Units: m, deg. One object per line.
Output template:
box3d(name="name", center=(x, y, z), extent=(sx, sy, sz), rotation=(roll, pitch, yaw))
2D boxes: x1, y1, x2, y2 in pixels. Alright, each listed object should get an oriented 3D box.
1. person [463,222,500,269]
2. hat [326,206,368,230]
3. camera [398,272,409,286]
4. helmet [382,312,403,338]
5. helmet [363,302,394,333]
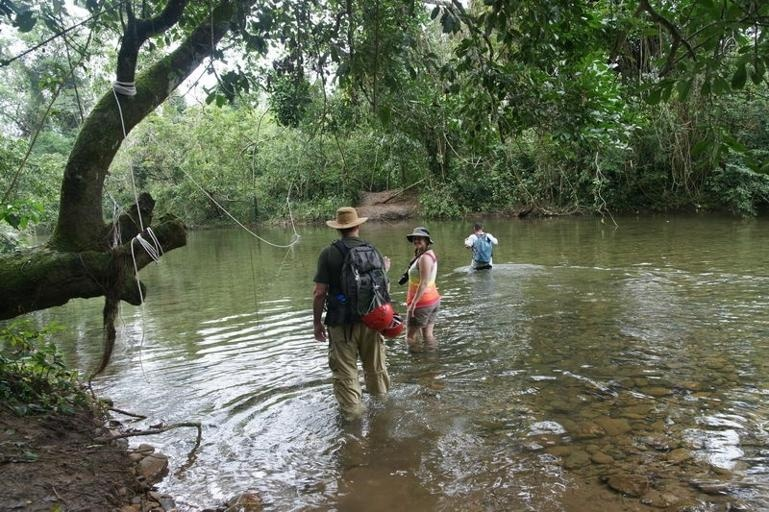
box3d(name="person", center=(2.640, 0.042, 16.505), extent=(0.884, 1.994, 0.726), rotation=(-6, 32, -2))
box3d(name="hat", center=(-0.512, -0.522, 8.609), extent=(0.440, 0.171, 0.486), rotation=(1, 13, 12))
box3d(name="camera", center=(0.334, 0.424, 10.496), extent=(0.211, 0.212, 0.078), rotation=(45, 21, 30))
box3d(name="helmet", center=(0.091, 1.009, 8.506), extent=(0.263, 0.270, 0.337), rotation=(15, 4, 1))
box3d(name="helmet", center=(-0.074, 0.844, 8.284), extent=(0.387, 0.273, 0.363), rotation=(-23, -6, 18))
